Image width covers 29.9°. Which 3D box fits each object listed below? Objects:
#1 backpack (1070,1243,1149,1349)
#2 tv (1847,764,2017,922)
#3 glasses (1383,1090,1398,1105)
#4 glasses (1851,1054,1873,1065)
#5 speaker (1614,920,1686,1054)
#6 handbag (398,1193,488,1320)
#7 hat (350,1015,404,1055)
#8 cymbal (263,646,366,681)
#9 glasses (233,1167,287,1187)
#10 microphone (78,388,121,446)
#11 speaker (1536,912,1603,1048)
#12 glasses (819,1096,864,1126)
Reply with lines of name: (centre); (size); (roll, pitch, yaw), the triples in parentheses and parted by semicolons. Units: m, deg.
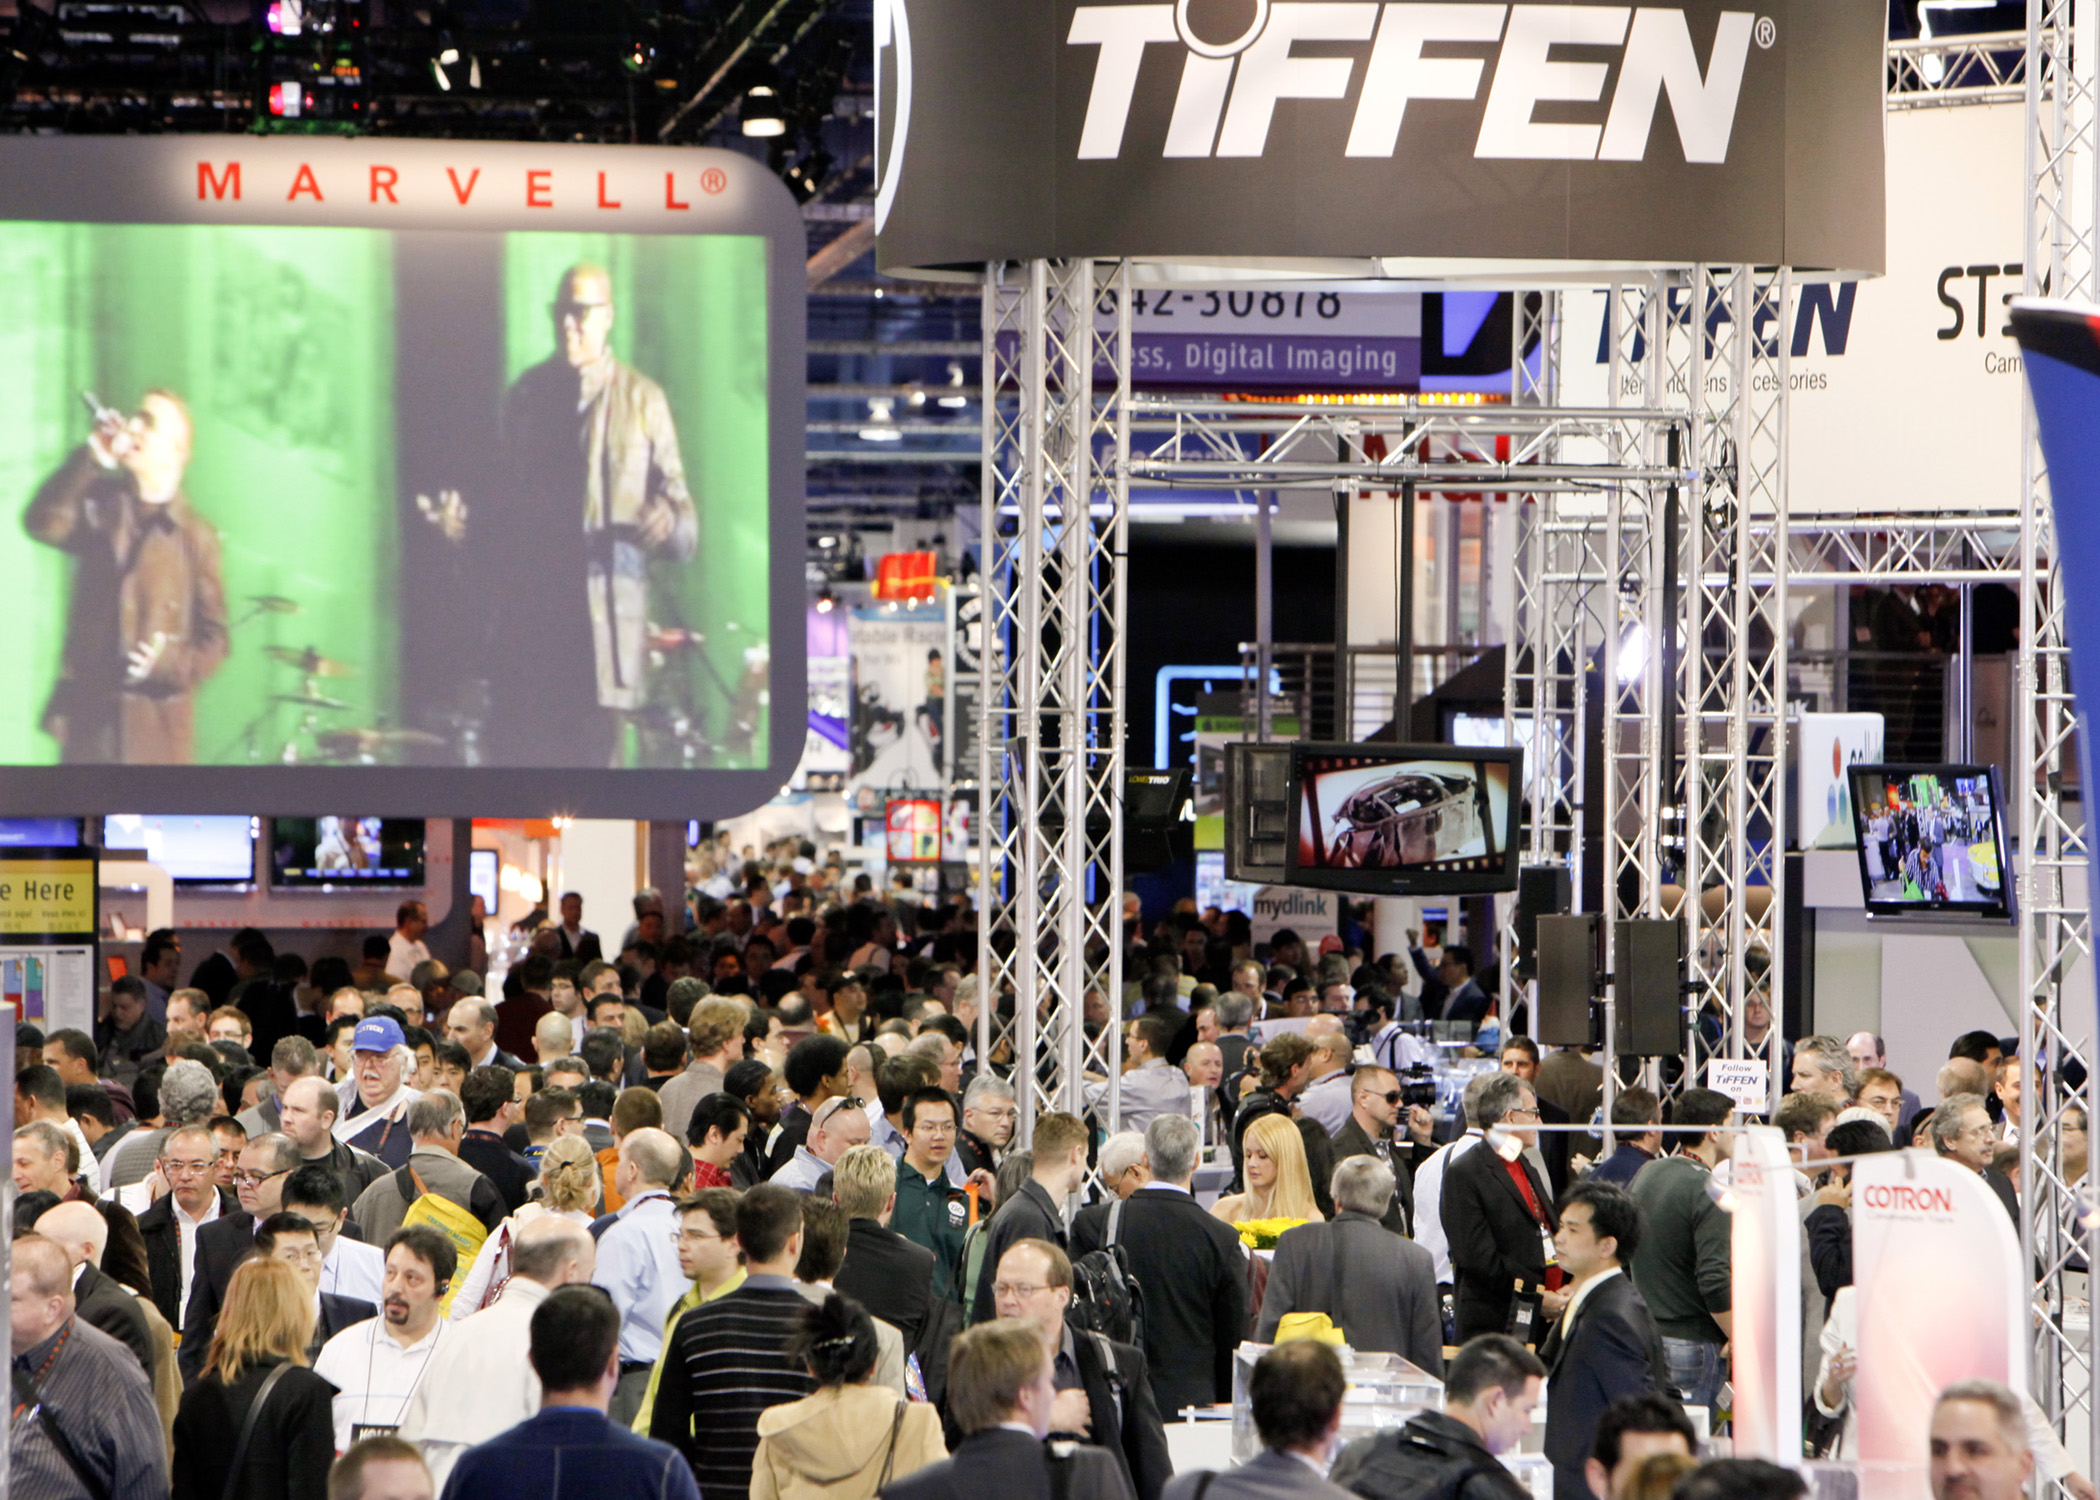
backpack: (0.209, 2.368, 17.374); (0.344, 0.647, 0.469); (-1, -1, 12)
tv: (5.576, 0.564, 24.934); (0.356, 0.990, 1.131); (0, -2, -36)
glasses: (1.644, 1.695, 19.232); (0.020, 0.065, 0.061); (-2, -3, 29)
glasses: (4.517, 1.727, 21.988); (0.082, 0.027, 0.081); (2, 5, -5)
speaker: (3.190, 1.260, 21.129); (0.361, 0.714, 0.350); (0, -5, 9)
handbag: (-2.576, 2.152, 16.647); (0.265, 0.381, 0.195); (33, -3, -6)
hat: (-3.202, 1.355, 18.836); (0.211, 0.160, 0.348); (3, -11, 0)
cymbal: (-4.491, -0.528, 24.005); (0.572, 0.195, 0.042); (1, -5, 0)
glasses: (-3.469, 1.856, 17.162); (0.249, 0.076, 0.117); (-3, -6, 39)
microphone: (-5.774, -2.039, 23.906); (0.393, 0.117, 0.180); (14, -24, 44)
speaker: (2.717, 1.266, 21.668); (0.356, 0.723, 0.418); (2, -3, -41)
glasses: (-0.939, 1.622, 17.796); (0.133, 0.152, 0.114); (16, -2, -11)
